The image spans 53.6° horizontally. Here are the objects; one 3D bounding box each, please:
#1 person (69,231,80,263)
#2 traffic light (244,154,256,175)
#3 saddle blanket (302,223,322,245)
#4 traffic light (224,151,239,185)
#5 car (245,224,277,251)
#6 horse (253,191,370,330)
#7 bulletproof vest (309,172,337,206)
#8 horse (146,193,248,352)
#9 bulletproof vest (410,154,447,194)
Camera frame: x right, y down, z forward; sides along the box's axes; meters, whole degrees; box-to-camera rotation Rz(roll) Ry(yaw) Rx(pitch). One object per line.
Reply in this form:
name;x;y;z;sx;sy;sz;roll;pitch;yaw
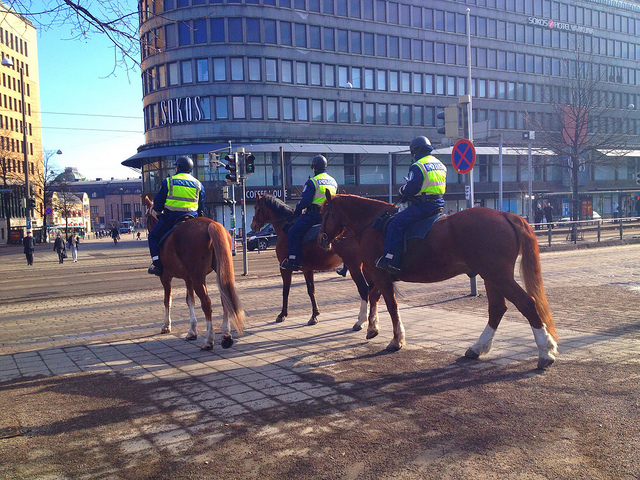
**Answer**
person;-13.295;0.409;34.341;0.369;1.571;2.634;-4;8;-21
traffic light;-2.429;-2.588;21.695;0.286;0.689;0.600;-2;8;-3
saddle blanket;-0.182;-0.108;13.408;0.385;0.411;0.356;-2;8;-3
traffic light;-2.969;-2.430;21.535;0.449;1.075;0.793;-2;8;-8
car;-3.664;-0.118;37.874;2.806;1.440;1.685;-1;1;-30
horse;-0.067;0.423;13.798;3.881;2.922;1.115;2;6;39
bulletproof vest;0.050;-1.137;13.763;0.822;0.703;0.413;-7;-4;-35
horse;-2.519;0.661;12.599;1.656;2.669;3.486;-3;8;-16
bulletproof vest;1.941;-1.161;11.112;0.689;0.712;0.393;-11;14;-36
